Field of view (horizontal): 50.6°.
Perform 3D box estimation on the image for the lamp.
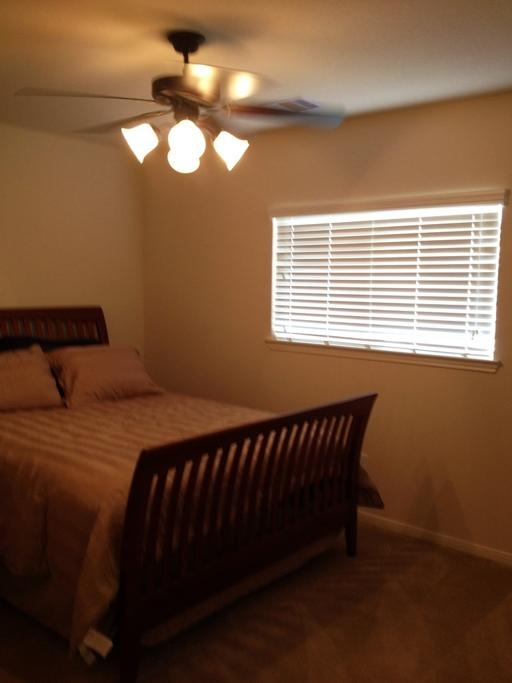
[{"bbox_3d":[-0.308,-0.960,2.566,0.686,0.361,0.310,6,4,6],"label":"lamp"}]
